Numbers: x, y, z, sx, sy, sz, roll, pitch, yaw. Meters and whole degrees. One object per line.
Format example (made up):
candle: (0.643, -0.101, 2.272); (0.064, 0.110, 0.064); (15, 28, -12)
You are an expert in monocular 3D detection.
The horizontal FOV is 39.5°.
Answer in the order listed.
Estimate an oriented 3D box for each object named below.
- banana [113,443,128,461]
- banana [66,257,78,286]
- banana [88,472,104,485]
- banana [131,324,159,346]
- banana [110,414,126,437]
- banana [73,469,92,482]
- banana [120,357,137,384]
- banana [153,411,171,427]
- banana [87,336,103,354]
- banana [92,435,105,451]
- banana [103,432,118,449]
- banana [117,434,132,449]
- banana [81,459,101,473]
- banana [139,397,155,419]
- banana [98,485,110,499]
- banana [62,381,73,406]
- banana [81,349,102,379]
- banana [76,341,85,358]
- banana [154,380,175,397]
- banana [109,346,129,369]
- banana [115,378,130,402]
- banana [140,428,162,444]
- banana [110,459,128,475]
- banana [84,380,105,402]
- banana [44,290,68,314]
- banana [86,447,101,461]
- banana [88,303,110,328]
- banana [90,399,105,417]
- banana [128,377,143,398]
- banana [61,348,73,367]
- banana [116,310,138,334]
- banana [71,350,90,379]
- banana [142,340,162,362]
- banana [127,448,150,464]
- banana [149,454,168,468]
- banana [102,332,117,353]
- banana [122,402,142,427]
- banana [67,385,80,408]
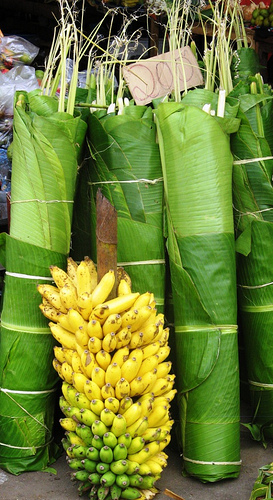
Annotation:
banana: (-0.047, 0.568, 1.070); (0.019, 0.064, 0.020); (18, 55, 18)
banana: (-0.243, 0.075, 1.431); (0.032, 0.116, 0.039); (-8, -25, -1)
banana: (-0.116, 0.660, 1.101); (0.024, 0.032, 0.055); (-5, -13, 21)
banana: (0.040, 0.276, 1.225); (0.046, 0.034, 0.094); (38, -11, 1)
banana: (-0.051, 0.501, 1.076); (0.034, 0.075, 0.038); (7, 18, 9)
banana: (-0.159, 0.675, 1.138); (0.020, 0.028, 0.080); (21, -12, 22)
banana: (-0.029, 0.352, 1.149); (0.049, 0.108, 0.035); (1, 26, -10)
banana: (0.079, 0.572, 1.259); (0.023, 0.093, 0.031); (14, 33, -18)
banana: (-0.118, 0.286, 1.154); (0.044, 0.050, 0.068); (-15, -18, -5)
banana: (-0.111, 0.547, 1.078); (0.022, 0.046, 0.026); (5, 24, 10)
banana: (-0.075, 0.537, 1.065); (0.026, 0.050, 0.026); (24, 48, 37)
banana: (-0.033, 0.539, 1.078); (0.038, 0.050, 0.066); (2, -27, -11)
banana: (-0.129, 0.623, 1.102); (0.021, 0.073, 0.026); (23, 68, 41)
banana: (0.033, 0.480, 1.154); (0.033, 0.059, 0.033); (29, 13, 40)
banana: (-0.095, 0.696, 1.090); (0.019, 0.036, 0.011); (1, 2, 8)
banana: (-0.217, 0.447, 1.207); (0.027, 0.093, 0.025); (-5, 5, -3)
banana: (-0.142, 0.328, 1.136); (0.042, 0.098, 0.031); (-11, 14, -7)
banana: (-0.177, 0.315, 1.191); (0.020, 0.041, 0.030); (-2, 5, -19)
banana: (0.098, 0.478, 1.298); (0.031, 0.087, 0.023); (40, 8, -15)
banana: (-0.051, 0.328, 1.175); (0.033, 0.075, 0.030); (27, 1, 41)
banana: (-0.043, 0.415, 1.123); (0.043, 0.076, 0.042); (-16, 42, -18)
banana: (0.046, 0.569, 1.169); (0.089, 0.032, 0.034); (-7, -21, -23)
banana: (-0.049, 0.611, 1.070); (0.036, 0.050, 0.031); (26, 47, -10)
banana: (-0.124, 0.413, 1.138); (0.029, 0.072, 0.036); (-22, 19, 13)
banana: (-0.272, 0.178, 1.290); (0.028, 0.092, 0.024); (-35, 16, -9)
banana: (-0.124, 0.582, 1.081); (0.031, 0.048, 0.027); (-10, 23, 3)
banana: (-0.108, 0.191, 1.139); (0.054, 0.104, 0.057); (11, 42, -10)
banana: (-0.115, 0.463, 1.137); (0.030, 0.059, 0.028); (-24, 34, -23)
banana: (-0.004, 0.418, 1.162); (0.025, 0.085, 0.027); (-39, 65, -23)
banana: (-0.222, 0.344, 1.223); (0.016, 0.058, 0.029); (-14, 4, -14)
banana: (-0.031, 0.229, 1.208); (0.030, 0.105, 0.036); (19, 33, -20)
banana: (-0.187, 0.358, 1.225); (0.033, 0.115, 0.031); (-17, 0, 38)
banana: (0.053, 0.326, 1.273); (0.094, 0.034, 0.029); (-40, 65, -15)
banana: (0.010, 0.613, 1.129); (0.081, 0.029, 0.053); (-22, -19, 37)
banana: (0.068, 0.672, 1.236); (0.033, 0.023, 0.061); (1, 33, -47)
banana: (-0.082, 0.276, 1.139); (0.030, 0.055, 0.031); (-25, 66, -19)
banana: (-0.006, 0.486, 1.124); (0.063, 0.089, 0.039); (-3, 11, -23)
banana: (-0.195, 0.449, 1.180); (0.027, 0.092, 0.024); (-4, 18, 3)
